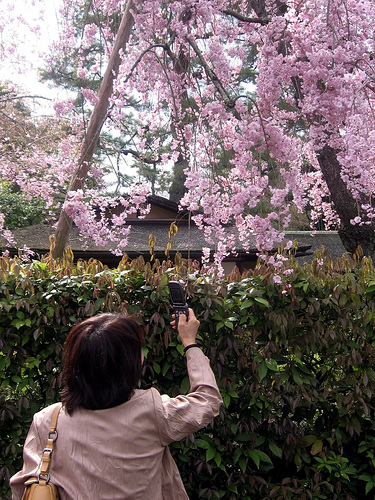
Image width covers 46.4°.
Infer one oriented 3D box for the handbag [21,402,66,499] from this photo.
[{"bbox_3d":[-0.423,0.631,1.352,0.104,0.244,0.093,3,-5,44],"label":"handbag"}]
